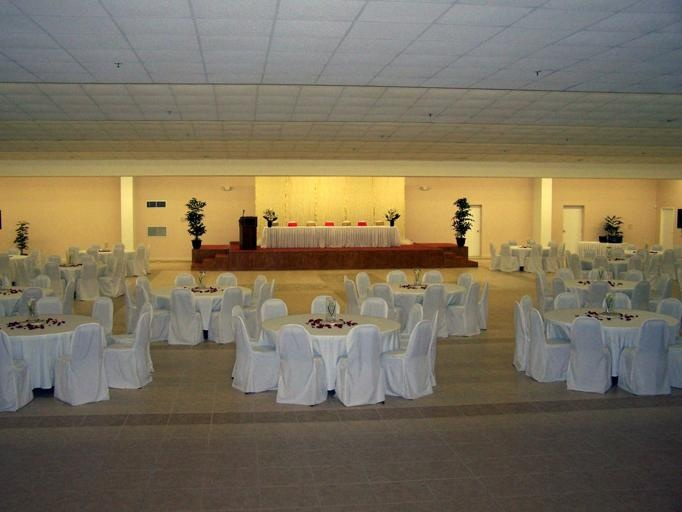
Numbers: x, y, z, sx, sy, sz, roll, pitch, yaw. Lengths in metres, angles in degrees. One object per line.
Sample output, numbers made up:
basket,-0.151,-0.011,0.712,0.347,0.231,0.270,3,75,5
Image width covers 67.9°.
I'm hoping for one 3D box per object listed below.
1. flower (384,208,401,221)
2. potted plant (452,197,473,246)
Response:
flower,2.166,-1.706,20.960,0.638,0.401,0.591,-7,8,-41
potted plant,5.086,-1.369,21.107,0.910,2.134,3.085,3,10,14
